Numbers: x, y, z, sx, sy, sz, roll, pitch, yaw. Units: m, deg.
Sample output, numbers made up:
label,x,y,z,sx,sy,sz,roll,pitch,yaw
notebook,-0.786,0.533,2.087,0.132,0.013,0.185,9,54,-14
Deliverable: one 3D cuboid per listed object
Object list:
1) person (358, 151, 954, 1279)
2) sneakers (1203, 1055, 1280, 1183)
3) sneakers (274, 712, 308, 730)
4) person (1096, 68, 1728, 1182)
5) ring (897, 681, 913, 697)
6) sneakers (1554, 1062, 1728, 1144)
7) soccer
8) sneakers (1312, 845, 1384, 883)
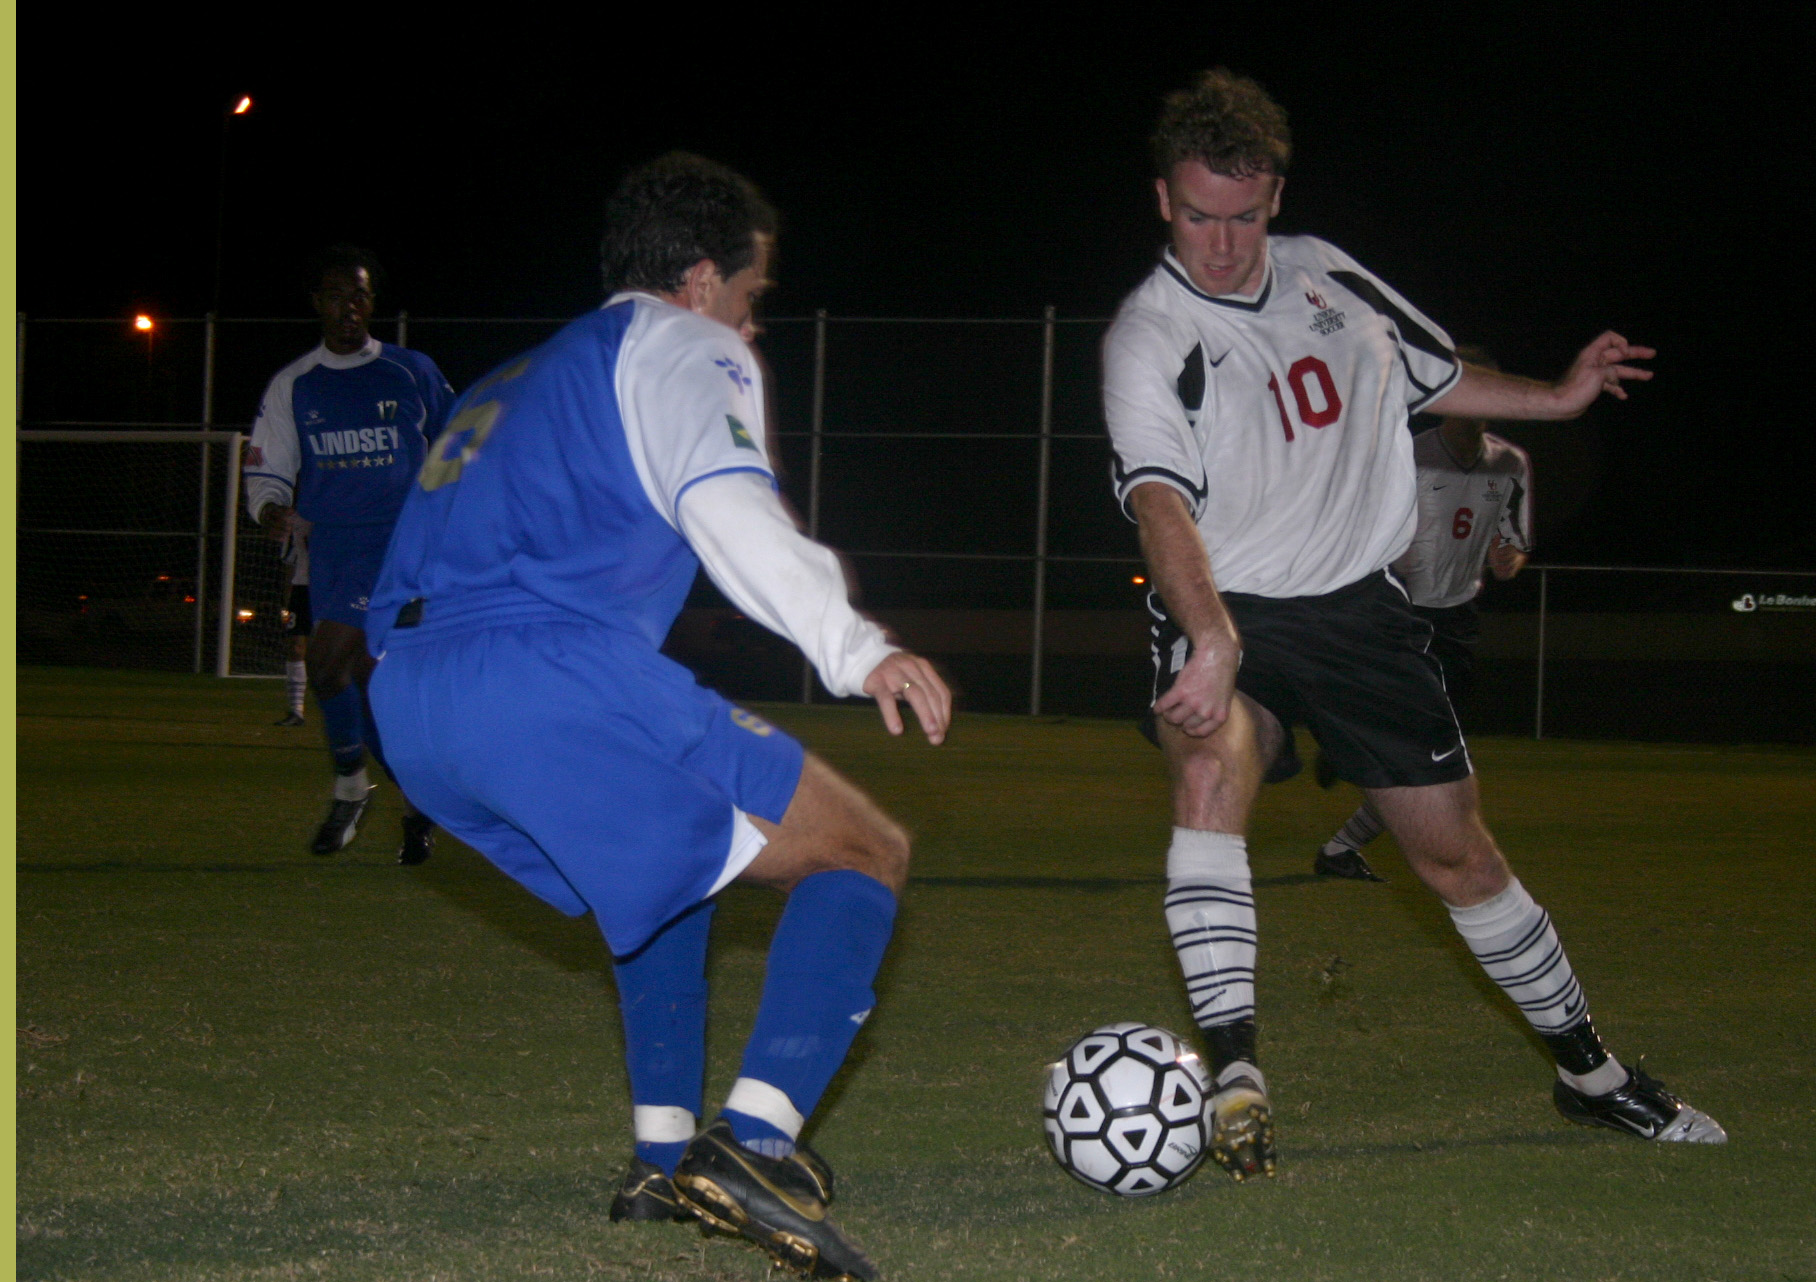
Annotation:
label,x,y,z,sx,sy,sz,roll,pitch,yaw
person,-0.488,0.107,3.202,1.131,2.197,0.517,1,3,1
sneakers,0.741,1.074,3.666,0.134,0.096,0.231,6,41,3
sneakers,-4.720,0.613,12.505,0.251,0.102,0.091,2,1,19
person,1.075,-0.101,3.946,1.235,2.526,0.604,0,3,-20
ring,-0.006,0.086,2.961,0.019,0.026,0.006,3,13,8
sneakers,1.752,1.128,3.971,0.418,0.161,0.151,9,9,21
soccer,0.460,0.996,3.659,0.347,0.325,0.345,-9,21,-28
sneakers,1.844,0.942,6.905,0.243,0.101,0.124,2,4,20
